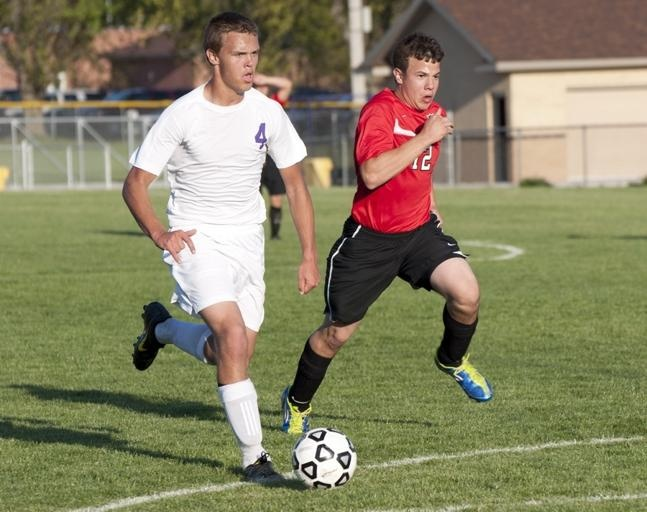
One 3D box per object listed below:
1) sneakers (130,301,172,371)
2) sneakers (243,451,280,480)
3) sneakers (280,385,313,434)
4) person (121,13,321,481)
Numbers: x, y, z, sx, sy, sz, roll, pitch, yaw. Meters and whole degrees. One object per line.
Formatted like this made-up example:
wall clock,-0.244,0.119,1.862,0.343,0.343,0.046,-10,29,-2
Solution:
sneakers,-1.171,0.539,8.591,0.238,0.582,0.198,15,48,1
sneakers,-0.353,1.214,7.276,0.216,0.169,0.177,-3,14,-7
sneakers,-0.164,0.992,7.962,0.120,0.358,0.154,-6,-1,-24
person,-0.571,-0.146,7.631,0.968,2.616,0.981,8,16,34
